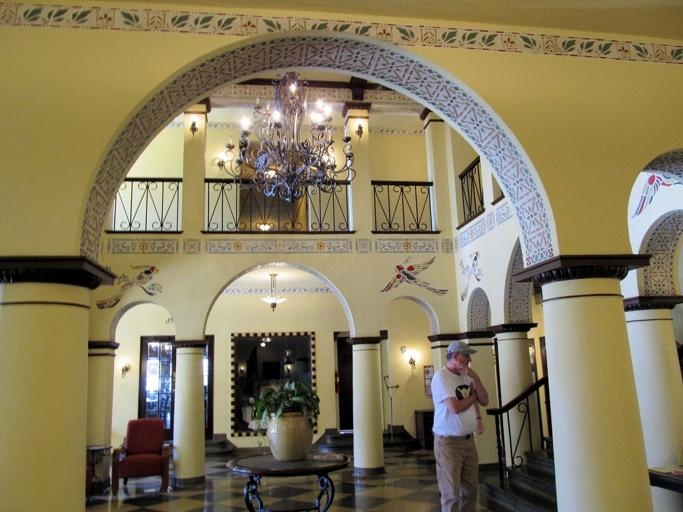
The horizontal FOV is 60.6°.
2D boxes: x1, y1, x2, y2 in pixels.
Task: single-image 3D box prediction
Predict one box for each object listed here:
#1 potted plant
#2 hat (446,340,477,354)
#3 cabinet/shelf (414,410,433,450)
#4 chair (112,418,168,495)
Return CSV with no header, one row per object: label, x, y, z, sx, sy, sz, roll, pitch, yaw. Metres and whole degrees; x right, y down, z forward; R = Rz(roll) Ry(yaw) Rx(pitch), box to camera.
potted plant,-0.668,1.920,6.944,0.788,0.870,0.824,-17,-17,32
hat,1.353,1.022,6.515,0.278,0.159,0.201,3,-6,-4
cabinet/shelf,2.095,4.294,14.532,0.367,0.906,0.728,0,-11,-6
chair,-3.567,3.588,10.592,0.910,1.421,1.152,0,-19,-10
